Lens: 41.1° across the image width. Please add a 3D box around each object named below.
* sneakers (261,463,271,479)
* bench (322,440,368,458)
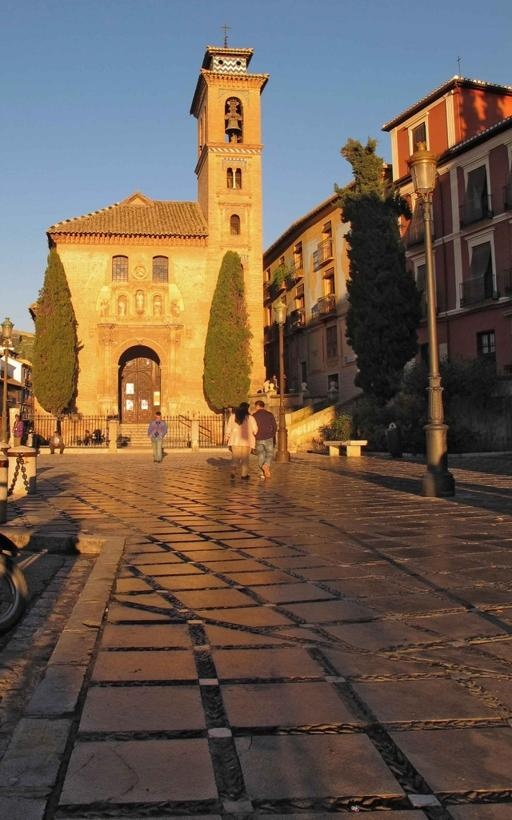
[{"bbox_3d":[0.220,1.285,13.626,0.139,0.433,0.186,-3,14,-1],"label":"sneakers"},{"bbox_3d":[2.909,1.239,22.047,0.817,0.527,1.961,-1,-1,-11],"label":"bench"}]
